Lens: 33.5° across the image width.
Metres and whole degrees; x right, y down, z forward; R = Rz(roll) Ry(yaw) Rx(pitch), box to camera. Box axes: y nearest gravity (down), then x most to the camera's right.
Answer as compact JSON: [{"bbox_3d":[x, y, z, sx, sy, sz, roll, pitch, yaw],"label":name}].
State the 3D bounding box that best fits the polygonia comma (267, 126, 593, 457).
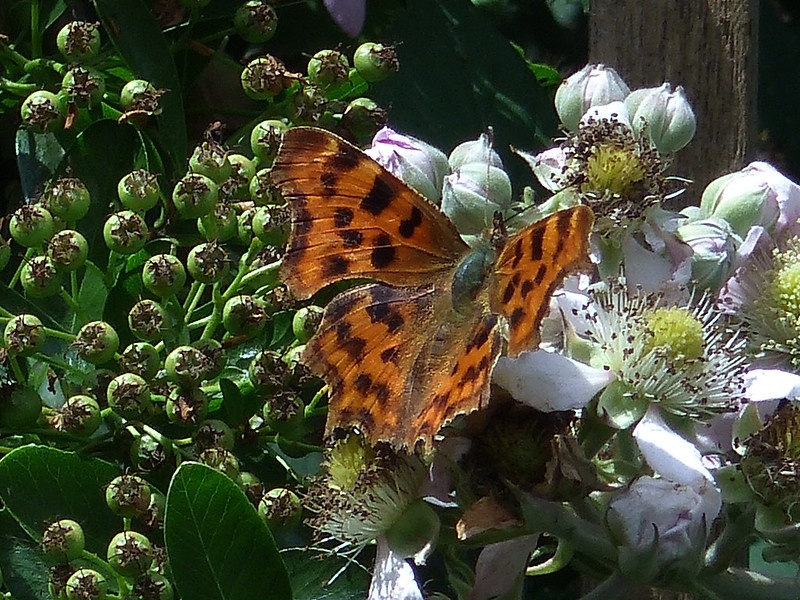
[{"bbox_3d":[0.074,0.014,1.656,0.427,0.231,0.352,19,79,22],"label":"polygonia comma"}]
